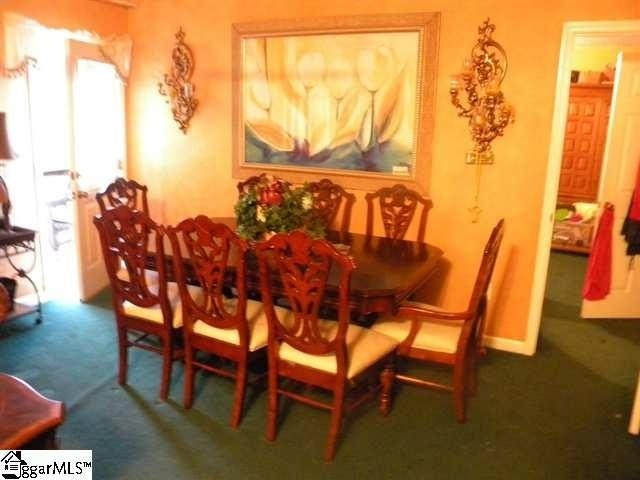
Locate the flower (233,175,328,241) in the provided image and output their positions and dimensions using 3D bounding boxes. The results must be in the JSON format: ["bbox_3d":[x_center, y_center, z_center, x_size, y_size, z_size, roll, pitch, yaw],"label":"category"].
[{"bbox_3d":[-0.265,-0.186,3.099,0.434,0.301,0.467,9,9,37],"label":"flower"}]

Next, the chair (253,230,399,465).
[{"bbox_3d":[0.032,0.524,2.908,0.662,1.357,0.665,13,25,29],"label":"chair"}]

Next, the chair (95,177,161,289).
[{"bbox_3d":[-1.554,-0.090,4.056,0.468,0.683,0.486,1,49,-15],"label":"chair"}]

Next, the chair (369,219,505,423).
[{"bbox_3d":[0.737,0.525,3.161,0.668,1.098,0.636,4,3,28],"label":"chair"}]

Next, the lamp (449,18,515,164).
[{"bbox_3d":[1.193,-1.081,3.638,0.475,1.034,0.145,7,17,18],"label":"lamp"}]

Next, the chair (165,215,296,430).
[{"bbox_3d":[-0.556,0.444,3.100,0.728,1.300,0.726,4,16,-3],"label":"chair"}]

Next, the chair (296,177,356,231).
[{"bbox_3d":[0.062,-0.230,3.997,0.417,0.632,0.416,7,28,12],"label":"chair"}]
